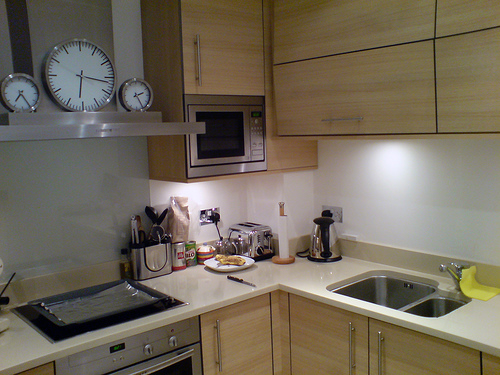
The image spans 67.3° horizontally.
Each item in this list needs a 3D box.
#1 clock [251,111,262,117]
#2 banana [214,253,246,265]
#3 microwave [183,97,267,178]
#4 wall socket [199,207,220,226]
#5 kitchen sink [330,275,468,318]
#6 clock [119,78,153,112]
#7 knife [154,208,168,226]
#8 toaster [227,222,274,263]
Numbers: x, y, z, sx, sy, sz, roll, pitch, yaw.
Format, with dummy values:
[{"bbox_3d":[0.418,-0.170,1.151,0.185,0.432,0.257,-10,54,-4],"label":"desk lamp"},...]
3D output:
[{"bbox_3d":[0.048,-0.496,2.526,0.089,0.045,0.002,-6,8,-36],"label":"clock"},{"bbox_3d":[-0.135,0.483,2.530,0.119,0.020,0.087,5,6,22],"label":"banana"},{"bbox_3d":[-0.236,-0.356,2.528,0.646,0.498,0.357,-9,14,-37],"label":"microwave"},{"bbox_3d":[-0.283,0.212,2.770,0.184,0.123,0.048,-6,8,-36],"label":"wall socket"},{"bbox_3d":[0.837,0.784,2.681,0.476,0.261,0.760,-11,-16,-7],"label":"kitchen sink"},{"bbox_3d":[-0.672,-0.554,2.233,0.195,0.207,0.150,-4,7,-18],"label":"clock"},{"bbox_3d":[-0.575,0.194,2.468,0.039,0.153,0.031,36,-28,-10],"label":"knife"},{"bbox_3d":[0.006,0.391,2.814,0.327,0.230,0.282,3,8,36],"label":"toaster"}]
